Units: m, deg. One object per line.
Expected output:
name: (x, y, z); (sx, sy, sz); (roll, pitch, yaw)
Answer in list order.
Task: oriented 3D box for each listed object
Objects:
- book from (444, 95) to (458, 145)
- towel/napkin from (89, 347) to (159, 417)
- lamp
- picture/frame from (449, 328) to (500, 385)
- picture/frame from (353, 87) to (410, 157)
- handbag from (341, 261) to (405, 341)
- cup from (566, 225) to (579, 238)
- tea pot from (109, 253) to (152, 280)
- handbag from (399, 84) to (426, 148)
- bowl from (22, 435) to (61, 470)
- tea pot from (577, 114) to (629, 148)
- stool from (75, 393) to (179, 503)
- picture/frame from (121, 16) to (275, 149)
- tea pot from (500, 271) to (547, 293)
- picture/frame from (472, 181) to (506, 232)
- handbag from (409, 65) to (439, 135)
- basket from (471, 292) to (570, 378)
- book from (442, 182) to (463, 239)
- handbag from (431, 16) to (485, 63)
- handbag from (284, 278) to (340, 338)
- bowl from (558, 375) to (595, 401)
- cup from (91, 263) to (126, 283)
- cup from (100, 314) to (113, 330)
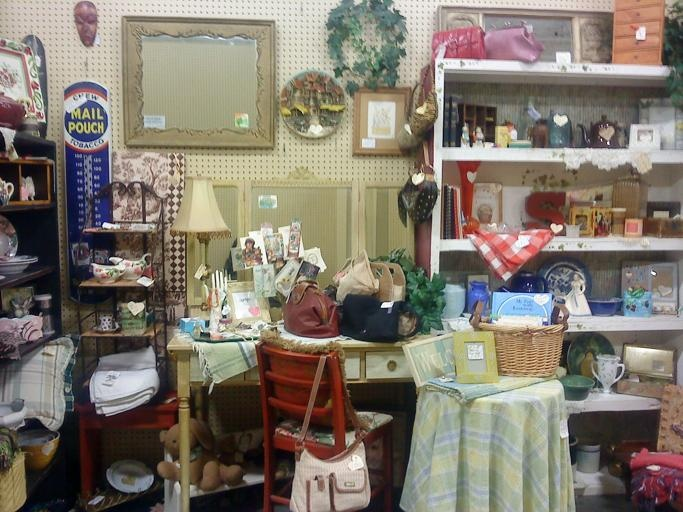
book: (0.720, -0.883, 4.429); (0.068, 0.330, 0.149); (2, 4, 45)
towel/napkin: (-1.417, 0.744, 4.420); (0.305, 0.168, 0.418); (-5, 25, -22)
lamp: (-0.898, -0.201, 4.370); (0.449, 1.232, 0.501); (1, 5, -7)
picture/frame: (0.777, 0.583, 3.930); (0.251, 0.362, 0.029); (0, -13, -3)
picture/frame: (0.265, -0.950, 4.683); (0.371, 0.532, 0.037); (0, 6, -4)
handbag: (0.193, 0.297, 4.219); (0.200, 0.418, 0.371); (7, -1, -40)
cup: (1.582, -0.176, 4.656); (0.117, 0.107, 0.068); (0, -2, 7)
tea pot: (-1.369, 0.019, 4.456); (0.244, 0.166, 0.150); (0, 6, -17)
handbag: (0.456, -0.932, 4.517); (0.087, 0.379, 0.213); (7, 8, 1)
bowl: (-1.936, 1.269, 4.327); (0.259, 0.209, 0.262); (-5, 0, 0)
tea pot: (1.787, -0.812, 4.623); (0.342, 0.299, 0.224); (0, -2, -3)
stool: (-1.434, 1.156, 4.645); (0.634, 0.761, 0.583); (0, 1, -12)
picture/frame: (-1.009, -1.212, 4.587); (0.722, 0.717, 0.038); (0, 1, -5)
tea pot: (1.235, 0.121, 4.553); (0.242, 0.231, 0.200); (1, -1, 19)
picture/frame: (1.009, -0.346, 4.707); (0.287, 0.492, 0.032); (1, -5, -10)
handbag: (0.533, -0.982, 4.370); (0.166, 0.513, 0.144); (-5, -15, 43)
basket: (1.160, 0.521, 4.182); (0.461, 0.442, 0.508); (-8, -12, 40)
book: (0.720, -0.287, 4.454); (0.074, 0.304, 0.209); (0, 5, 0)
handbag: (0.766, -1.385, 4.392); (0.346, 0.251, 0.260); (5, 6, 18)
handbag: (-0.216, 0.335, 4.338); (0.224, 0.355, 0.436); (-2, 5, -43)
bowl: (1.546, 0.850, 4.442); (0.159, 0.089, 0.178); (-1, 6, -6)
cup: (-1.497, 0.106, 4.351); (0.148, 0.106, 0.126); (7, 4, -18)
cup: (-1.551, 0.408, 4.488); (0.069, 0.141, 0.115); (-3, 4, -13)
